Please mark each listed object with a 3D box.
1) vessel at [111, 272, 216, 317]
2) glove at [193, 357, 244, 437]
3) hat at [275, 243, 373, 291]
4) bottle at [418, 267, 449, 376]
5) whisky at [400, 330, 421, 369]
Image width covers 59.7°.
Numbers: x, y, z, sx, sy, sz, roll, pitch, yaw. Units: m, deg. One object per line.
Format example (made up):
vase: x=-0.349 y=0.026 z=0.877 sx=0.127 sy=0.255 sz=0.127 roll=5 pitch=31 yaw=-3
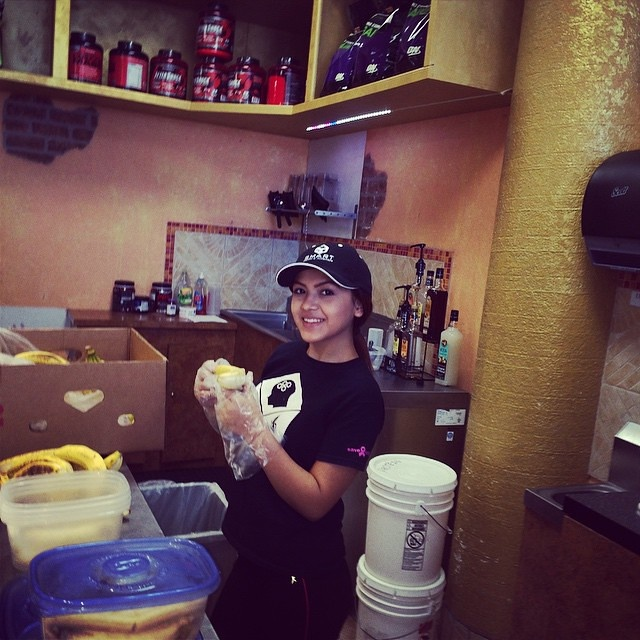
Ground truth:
vessel: x=-1.068 y=-0.171 z=3.703 sx=0.609 sy=0.273 sz=0.388 roll=3 pitch=9 yaw=2
glove: x=-0.269 y=0.189 z=1.396 sx=0.072 sy=0.213 sz=0.151 roll=2 pitch=27 yaw=19
hat: x=0.017 y=-0.139 z=1.527 sx=0.144 sy=0.121 sz=0.201 roll=10 pitch=-15 yaw=41
bottle: x=0.513 y=-0.053 z=2.636 sx=0.090 sy=0.415 sz=0.097 roll=-1 pitch=36 yaw=1
whisky: x=0.403 y=0.135 z=2.491 sx=0.097 sy=0.166 sz=0.072 roll=4 pitch=9 yaw=10
